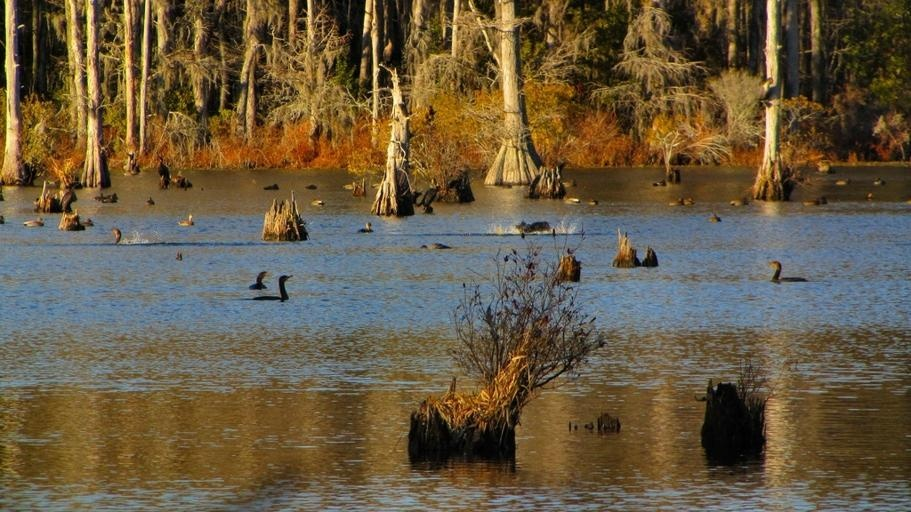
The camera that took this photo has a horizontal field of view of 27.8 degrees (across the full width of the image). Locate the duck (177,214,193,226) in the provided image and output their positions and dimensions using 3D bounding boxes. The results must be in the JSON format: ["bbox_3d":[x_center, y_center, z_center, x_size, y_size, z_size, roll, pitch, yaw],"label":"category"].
[{"bbox_3d":[-9.378,-1.248,63.633,0.625,0.383,0.378,3,5,33],"label":"duck"}]

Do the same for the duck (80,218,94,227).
[{"bbox_3d":[-12.634,-1.129,63.055,0.342,0.170,0.432,3,16,-6],"label":"duck"}]

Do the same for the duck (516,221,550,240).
[{"bbox_3d":[2.573,-0.935,61.439,1.122,0.391,1.012,-2,5,-2],"label":"duck"}]

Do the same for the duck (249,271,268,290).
[{"bbox_3d":[-5.746,0.695,53.344,0.174,0.410,0.309,28,0,38],"label":"duck"}]

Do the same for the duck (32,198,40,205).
[{"bbox_3d":[-15.871,-2.081,69.399,0.185,0.359,0.417,-1,-6,0],"label":"duck"}]

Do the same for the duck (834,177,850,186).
[{"bbox_3d":[17.010,-3.286,81.210,0.790,0.359,0.233,-17,51,-45],"label":"duck"}]

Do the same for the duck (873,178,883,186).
[{"bbox_3d":[18.328,-3.214,79.661,0.313,0.257,0.414,3,11,9],"label":"duck"}]

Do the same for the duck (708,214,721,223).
[{"bbox_3d":[9.067,-1.373,64.494,0.371,0.325,0.153,3,-15,3],"label":"duck"}]

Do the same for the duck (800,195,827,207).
[{"bbox_3d":[13.869,-2.150,71.453,0.711,0.333,0.183,-14,52,-9],"label":"duck"}]

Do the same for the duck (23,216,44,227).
[{"bbox_3d":[-14.479,-1.160,62.881,0.610,0.279,0.430,-2,6,16],"label":"duck"}]

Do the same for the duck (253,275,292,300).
[{"bbox_3d":[-5.143,0.893,52.087,0.870,0.465,0.718,-3,-1,26],"label":"duck"}]
